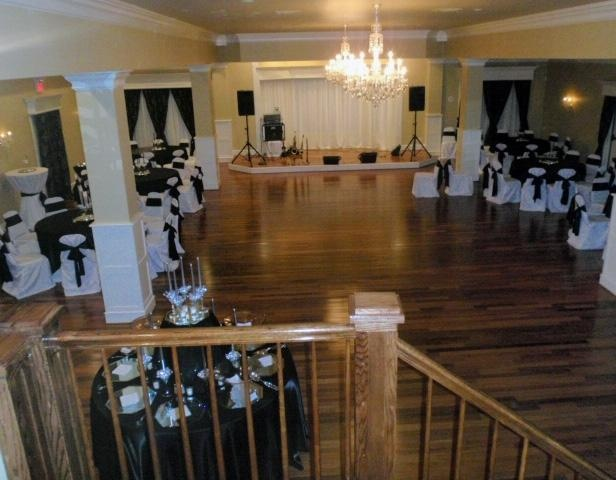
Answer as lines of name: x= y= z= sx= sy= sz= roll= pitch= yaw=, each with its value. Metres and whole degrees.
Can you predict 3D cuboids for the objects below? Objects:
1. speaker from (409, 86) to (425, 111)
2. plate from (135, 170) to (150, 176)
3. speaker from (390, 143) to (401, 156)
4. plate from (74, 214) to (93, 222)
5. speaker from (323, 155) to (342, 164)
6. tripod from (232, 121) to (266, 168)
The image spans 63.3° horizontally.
speaker: x=3.117 y=-4.039 z=14.358 sx=0.405 sy=0.631 sz=0.199 roll=-4 pitch=14 yaw=-6
plate: x=-3.339 y=-1.328 z=10.060 sx=0.185 sy=0.075 sz=0.143 roll=1 pitch=17 yaw=-5
speaker: x=2.697 y=-2.742 z=15.275 sx=0.197 sy=0.421 sz=0.575 roll=-2 pitch=32 yaw=-1
plate: x=-3.474 y=-0.326 z=7.739 sx=0.220 sy=0.056 sz=0.163 roll=-3 pitch=26 yaw=-13
speaker: x=0.686 y=-2.296 z=14.518 sx=0.496 sy=0.245 sz=0.233 roll=1 pitch=15 yaw=16
tripod: x=-1.871 y=-3.020 z=15.683 sx=1.148 sy=1.706 sz=1.089 roll=5 pitch=20 yaw=11
